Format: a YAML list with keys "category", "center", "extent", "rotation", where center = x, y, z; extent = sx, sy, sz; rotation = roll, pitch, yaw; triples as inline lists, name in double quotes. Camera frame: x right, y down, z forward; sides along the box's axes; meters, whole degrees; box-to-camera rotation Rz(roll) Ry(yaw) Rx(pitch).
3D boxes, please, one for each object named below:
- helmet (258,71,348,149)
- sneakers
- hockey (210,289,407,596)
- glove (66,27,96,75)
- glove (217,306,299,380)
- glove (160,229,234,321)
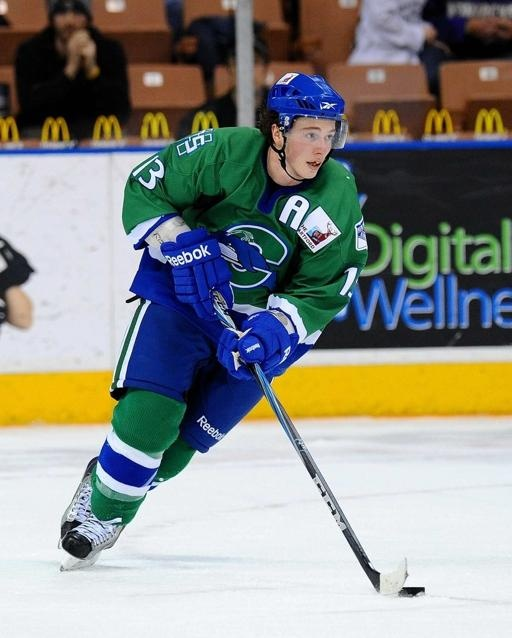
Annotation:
- category: "helmet"
  center: [0.121, -0.497, 2.230]
  extent: [0.217, 0.164, 0.163]
  rotation: [5, 10, 21]
- category: "sneakers"
  center: [-0.412, 0.493, 2.325]
  extent: [0.136, 0.114, 0.313]
  rotation: [-48, 15, 21]
- category: "hockey"
  center: [0.155, 0.370, 2.728]
  extent: [0.114, 0.839, 0.125]
  rotation: [-16, -26, -43]
- category: "glove"
  center: [-0.821, -1.244, 4.365]
  extent: [0.156, 0.206, 0.070]
  rotation: [3, -10, -2]
- category: "glove"
  center: [0.003, 0.052, 2.212]
  extent: [0.086, 0.140, 0.193]
  rotation: [-22, 18, 51]
- category: "glove"
  center: [-0.138, -0.119, 2.195]
  extent: [0.162, 0.225, 0.065]
  rotation: [-24, 22, 2]
